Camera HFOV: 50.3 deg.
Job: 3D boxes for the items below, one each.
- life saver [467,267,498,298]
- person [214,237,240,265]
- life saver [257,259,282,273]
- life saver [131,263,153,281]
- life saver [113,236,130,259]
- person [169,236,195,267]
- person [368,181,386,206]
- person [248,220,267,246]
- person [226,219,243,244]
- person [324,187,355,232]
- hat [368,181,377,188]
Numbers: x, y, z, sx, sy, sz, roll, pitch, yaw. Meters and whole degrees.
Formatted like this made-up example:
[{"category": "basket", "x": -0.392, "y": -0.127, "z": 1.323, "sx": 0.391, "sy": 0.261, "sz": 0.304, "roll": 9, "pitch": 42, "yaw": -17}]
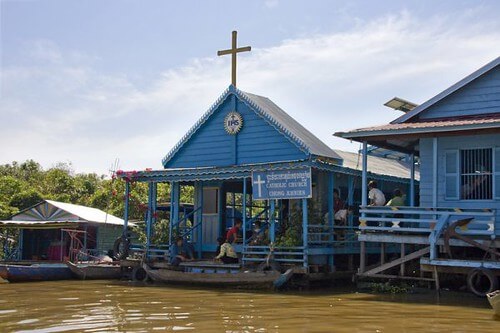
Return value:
[{"category": "life saver", "x": 7.960, "y": 3.974, "z": 18.351, "sx": 0.452, "sy": 1.157, "sz": 1.042, "roll": -1, "pitch": -1, "yaw": -41}, {"category": "person", "x": -1.014, "y": 3.471, "z": 22.248, "sx": 0.990, "sy": 1.202, "sz": 0.689, "roll": -4, "pitch": 14, "yaw": 14}, {"category": "life saver", "x": 0.775, "y": 3.942, "z": 21.222, "sx": 0.993, "sy": 0.467, "sz": 0.304, "roll": -4, "pitch": -10, "yaw": 28}, {"category": "life saver", "x": -4.823, "y": 4.706, "z": 23.847, "sx": 0.751, "sy": 0.831, "sz": 0.796, "roll": -1, "pitch": -3, "yaw": 6}, {"category": "life saver", "x": -5.951, "y": 3.792, "z": 24.939, "sx": 0.606, "sy": 1.180, "sz": 0.998, "roll": 6, "pitch": -10, "yaw": -30}, {"category": "person", "x": -3.052, "y": 3.706, "z": 23.372, "sx": 0.981, "sy": 1.174, "sz": 1.124, "roll": -3, "pitch": -1, "yaw": 18}, {"category": "person", "x": 5.020, "y": 1.052, "z": 21.191, "sx": 0.615, "sy": 1.095, "sz": 1.061, "roll": 2, "pitch": -8, "yaw": -4}, {"category": "person", "x": 0.336, "y": 2.786, "z": 22.462, "sx": 0.680, "sy": 1.055, "sz": 0.942, "roll": 1, "pitch": -8, "yaw": 1}, {"category": "person", "x": -0.614, "y": 2.806, "z": 23.712, "sx": 0.747, "sy": 1.228, "sz": 0.830, "roll": 2, "pitch": 11, "yaw": 15}, {"category": "person", "x": 3.896, "y": 1.794, "z": 23.259, "sx": 0.960, "sy": 1.554, "sz": 1.547, "roll": -3, "pitch": -10, "yaw": 28}, {"category": "hat", "x": 4.969, "y": 0.716, "z": 21.588, "sx": 0.214, "sy": 0.278, "sz": 0.276, "roll": 2, "pitch": 8, "yaw": 0}]
